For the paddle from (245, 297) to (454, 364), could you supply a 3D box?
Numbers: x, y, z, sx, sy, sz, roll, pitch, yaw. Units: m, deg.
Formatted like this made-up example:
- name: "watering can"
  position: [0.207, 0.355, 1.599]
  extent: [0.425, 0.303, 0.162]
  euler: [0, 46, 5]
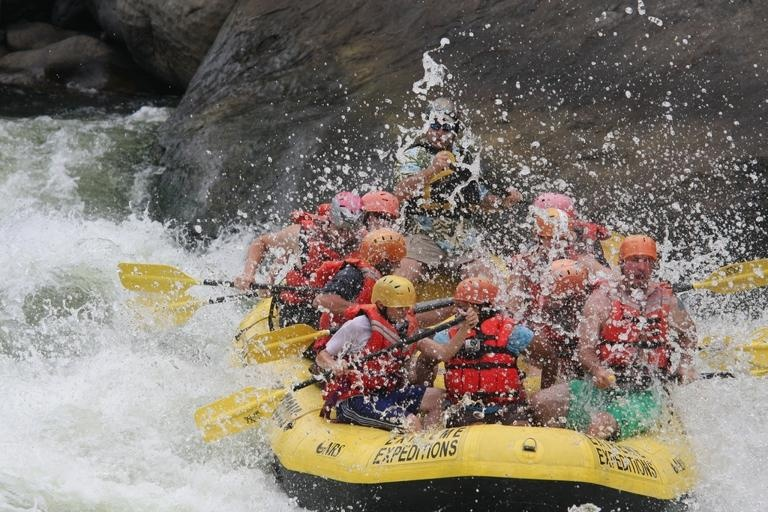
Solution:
- name: "paddle"
  position: [-0.306, 0.833, 12.543]
  extent: [1.991, 0.243, 0.338]
  euler: [-14, 73, 3]
